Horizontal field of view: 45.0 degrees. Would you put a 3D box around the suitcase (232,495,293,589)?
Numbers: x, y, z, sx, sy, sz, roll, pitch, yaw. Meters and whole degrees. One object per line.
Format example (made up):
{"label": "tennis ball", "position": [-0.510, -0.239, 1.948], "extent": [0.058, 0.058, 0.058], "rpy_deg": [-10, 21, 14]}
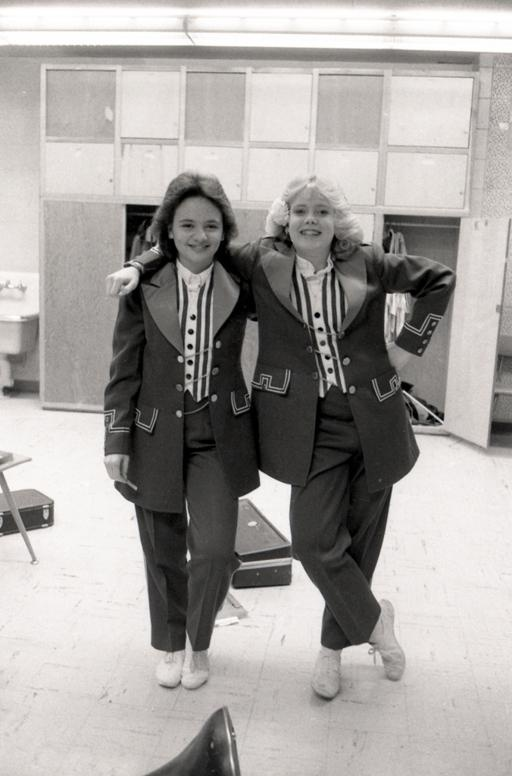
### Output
{"label": "suitcase", "position": [0.027, 0.647, 2.550], "extent": [0.190, 0.134, 0.459], "rpy_deg": [-2, 16, -8]}

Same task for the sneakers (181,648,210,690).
{"label": "sneakers", "position": [-0.168, 0.775, 1.712], "extent": [0.042, 0.059, 0.138], "rpy_deg": [2, 0, -1]}

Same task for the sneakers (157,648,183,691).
{"label": "sneakers", "position": [-0.240, 0.784, 1.717], "extent": [0.037, 0.052, 0.122], "rpy_deg": [1, -4, 2]}

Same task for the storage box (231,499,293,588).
{"label": "storage box", "position": [0.026, 0.529, 2.552], "extent": [0.251, 0.168, 0.577], "rpy_deg": [-2, 15, -8]}

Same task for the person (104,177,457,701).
{"label": "person", "position": [0.220, 0.078, 1.631], "extent": [0.559, 1.180, 0.300], "rpy_deg": [1, -1, -18]}
